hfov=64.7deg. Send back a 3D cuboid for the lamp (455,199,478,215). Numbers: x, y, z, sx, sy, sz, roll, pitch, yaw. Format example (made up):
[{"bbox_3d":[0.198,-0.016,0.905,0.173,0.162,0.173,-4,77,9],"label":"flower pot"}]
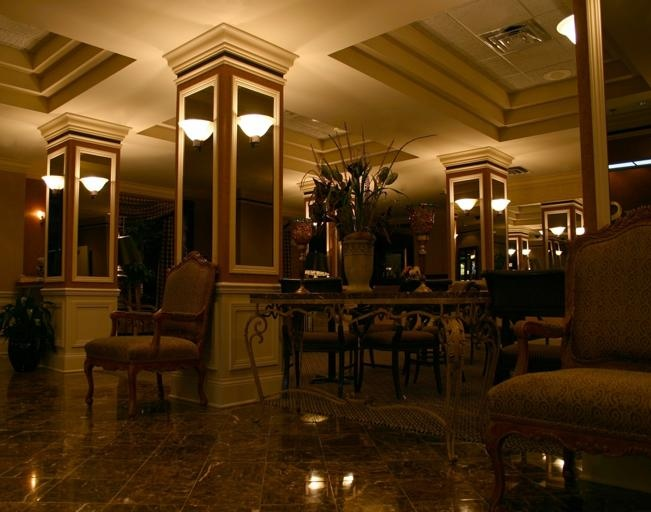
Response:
[{"bbox_3d":[2.315,-0.830,8.432,0.397,0.235,0.067,-3,-4,43],"label":"lamp"}]

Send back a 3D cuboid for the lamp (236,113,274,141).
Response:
[{"bbox_3d":[-0.673,-1.239,4.949,0.292,0.181,0.259,1,4,-3],"label":"lamp"}]

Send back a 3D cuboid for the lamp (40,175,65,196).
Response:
[{"bbox_3d":[-3.653,-0.999,6.951,0.304,0.230,0.294,-1,-7,-2],"label":"lamp"}]

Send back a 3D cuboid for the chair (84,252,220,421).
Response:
[{"bbox_3d":[-1.481,0.603,4.418,1.064,1.339,1.029,2,-6,-19],"label":"chair"}]

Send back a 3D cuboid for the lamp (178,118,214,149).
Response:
[{"bbox_3d":[-1.194,-1.184,4.879,0.350,0.311,0.108,-2,-3,24],"label":"lamp"}]

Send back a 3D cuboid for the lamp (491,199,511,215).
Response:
[{"bbox_3d":[2.858,-0.827,8.382,0.263,0.178,0.250,7,-8,-28],"label":"lamp"}]

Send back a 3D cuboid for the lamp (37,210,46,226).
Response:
[{"bbox_3d":[-5.117,-0.705,9.260,0.226,0.249,0.106,-2,-3,38],"label":"lamp"}]

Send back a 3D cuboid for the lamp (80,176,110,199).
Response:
[{"bbox_3d":[-3.114,-0.924,6.892,0.248,0.171,0.247,0,1,-3],"label":"lamp"}]
